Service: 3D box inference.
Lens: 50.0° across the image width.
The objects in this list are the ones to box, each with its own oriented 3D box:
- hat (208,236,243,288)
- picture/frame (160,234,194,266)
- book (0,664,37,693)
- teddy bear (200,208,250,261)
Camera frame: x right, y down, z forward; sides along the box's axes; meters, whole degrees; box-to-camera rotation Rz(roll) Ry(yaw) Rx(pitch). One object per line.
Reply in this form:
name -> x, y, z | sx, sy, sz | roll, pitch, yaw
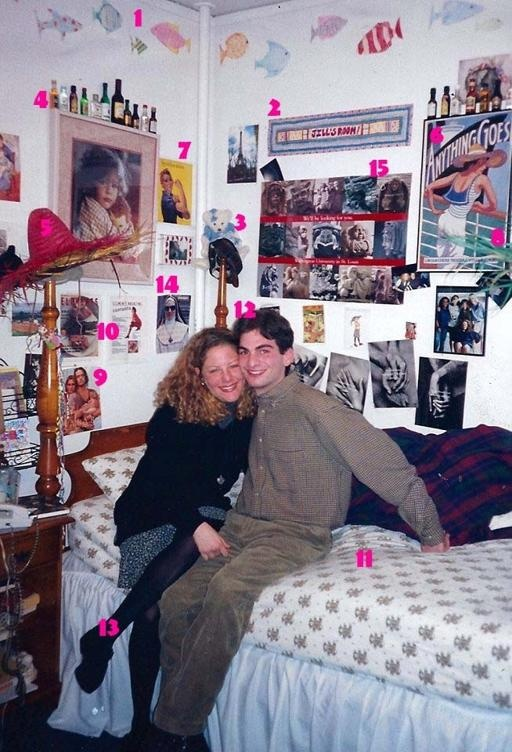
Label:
hat -> -0.144, -0.507, 2.518 | 0.130, 0.215, 0.077 | 17, 49, 16
picture/frame -> -0.399, -0.618, 2.681 | 0.025, 0.128, 0.172 | 0, 10, 30
book -> -0.747, 0.939, 1.705 | 0.090, 0.129, 0.030 | 5, 0, -34
teddy bear -> -0.159, -0.666, 2.568 | 0.213, 0.241, 0.210 | 26, 48, 31
